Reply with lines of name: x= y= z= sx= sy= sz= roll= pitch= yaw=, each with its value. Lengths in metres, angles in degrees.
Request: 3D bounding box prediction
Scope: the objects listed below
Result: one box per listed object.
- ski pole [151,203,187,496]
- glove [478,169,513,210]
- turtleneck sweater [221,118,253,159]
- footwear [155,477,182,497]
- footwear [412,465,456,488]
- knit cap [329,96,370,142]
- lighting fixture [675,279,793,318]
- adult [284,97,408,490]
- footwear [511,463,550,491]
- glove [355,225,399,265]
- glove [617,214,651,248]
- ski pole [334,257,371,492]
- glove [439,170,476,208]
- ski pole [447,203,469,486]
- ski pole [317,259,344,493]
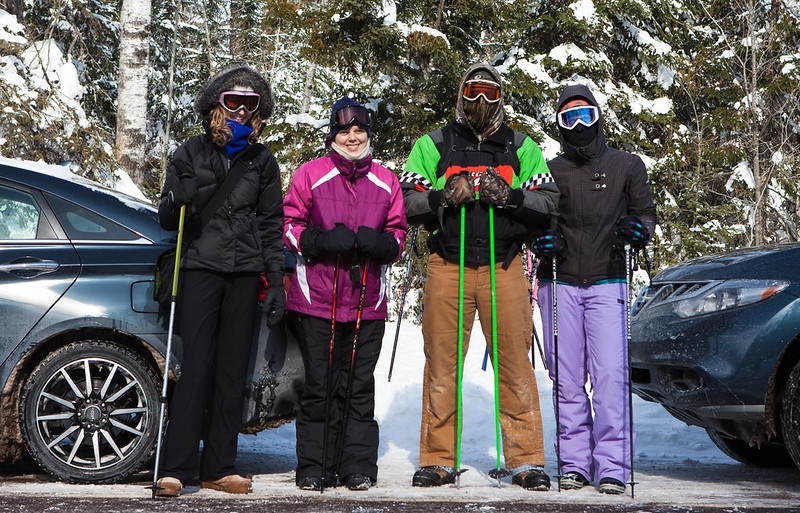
ski pole: x=-2.310 y=0.894 z=9.341 sx=0.219 sy=2.768 sz=0.759 roll=2 pitch=9 yaw=2
glove: x=0.954 y=-0.686 z=9.571 sx=0.289 sy=0.362 sz=0.156 roll=-28 pitch=3 yaw=-2
turtleneck sweater: x=-1.670 y=-1.187 z=9.612 sx=0.274 sy=0.278 sz=0.355 roll=3 pitch=9 yaw=-6
footwear: x=-2.270 y=2.243 z=9.260 sx=0.180 sy=0.139 sz=0.180 roll=1 pitch=-2 yaw=10
footwear: x=0.350 y=2.249 z=9.725 sx=0.376 sy=0.184 sz=0.210 roll=4 pitch=-17 yaw=-10
knit cap: x=-0.529 y=-1.451 z=9.944 sx=0.381 sy=0.428 sz=0.443 roll=4 pitch=-25 yaw=-14
lighting fixture: x=3.370 y=0.400 z=9.754 sx=0.798 sy=0.208 sz=0.458 roll=-11 pitch=8 yaw=1
adult: x=-0.572 y=0.359 z=9.819 sx=1.306 sy=3.994 sz=1.223 roll=1 pitch=-3 yaw=-8
footwear: x=1.330 y=2.248 z=9.702 sx=0.162 sy=0.202 sz=0.443 roll=3 pitch=-7 yaw=-27
glove: x=-0.229 y=-0.136 z=9.701 sx=0.465 sy=0.358 sz=0.250 roll=2 pitch=9 yaw=-1
glove: x=2.433 y=-0.271 z=9.858 sx=0.350 sy=0.344 sz=0.190 roll=4 pitch=9 yaw=15
ski pole: x=-0.415 y=1.187 z=9.743 sx=0.241 sy=2.371 sz=0.314 roll=13 pitch=-9 yaw=-37
glove: x=0.599 y=-0.691 z=9.750 sx=0.258 sy=0.376 sz=0.175 roll=3 pitch=-27 yaw=-1
ski pole: x=0.630 y=0.895 z=9.726 sx=0.146 sy=2.791 sz=0.659 roll=2 pitch=9 yaw=2
ski pole: x=-0.728 y=1.184 z=9.573 sx=0.141 sy=2.260 sz=0.570 roll=1 pitch=9 yaw=-2
